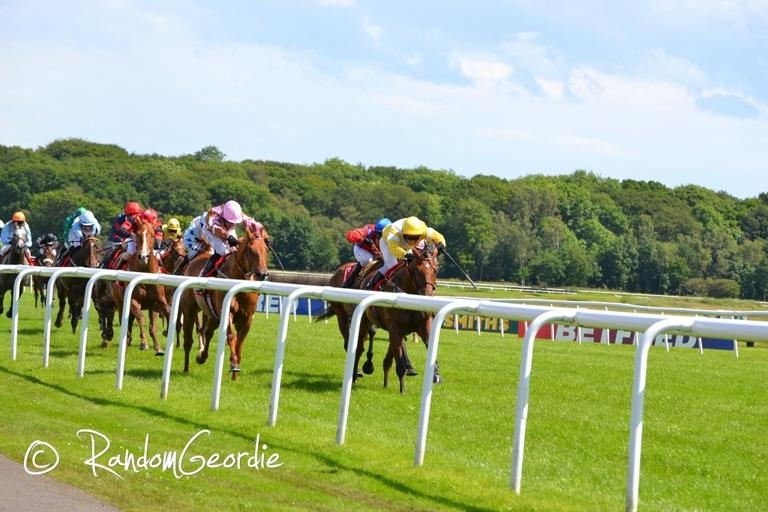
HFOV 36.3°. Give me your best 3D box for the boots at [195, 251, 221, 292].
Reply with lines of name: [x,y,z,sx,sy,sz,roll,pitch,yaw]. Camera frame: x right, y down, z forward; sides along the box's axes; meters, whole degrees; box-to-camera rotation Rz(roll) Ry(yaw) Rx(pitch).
boots: [-2.855,0.254,18.391,0.207,0.515,0.800,6,-34,-33]

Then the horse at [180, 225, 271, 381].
horse: [-2.446,0.725,17.963,1.258,2.333,2.172,-8,16,-36]

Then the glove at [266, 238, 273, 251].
glove: [-1.771,-0.173,18.126,0.045,0.146,0.144,-17,3,-7]

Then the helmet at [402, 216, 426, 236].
helmet: [0.469,-0.453,17.819,0.403,0.268,0.364,2,14,1]

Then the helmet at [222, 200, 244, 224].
helmet: [-2.431,-0.683,18.752,0.278,0.377,0.204,-21,-22,-22]

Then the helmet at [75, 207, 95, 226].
helmet: [-5.448,-0.726,21.415,0.286,0.225,0.424,4,4,-27]

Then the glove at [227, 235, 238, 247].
glove: [-2.364,-0.237,18.369,0.127,0.185,0.070,-5,18,5]

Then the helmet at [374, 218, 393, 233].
helmet: [-0.008,-0.492,18.863,0.187,0.249,0.254,-2,31,15]

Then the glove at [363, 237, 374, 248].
glove: [-0.255,-0.217,18.994,0.116,0.179,0.071,-1,7,12]

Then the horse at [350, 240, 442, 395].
horse: [0.096,1.033,18.104,0.702,2.219,3.040,-2,-3,-26]

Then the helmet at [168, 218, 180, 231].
helmet: [-3.985,-0.618,22.249,0.171,0.148,0.255,3,-2,-26]

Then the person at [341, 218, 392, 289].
person: [-0.437,-0.249,19.155,0.586,1.270,0.808,32,14,1]
